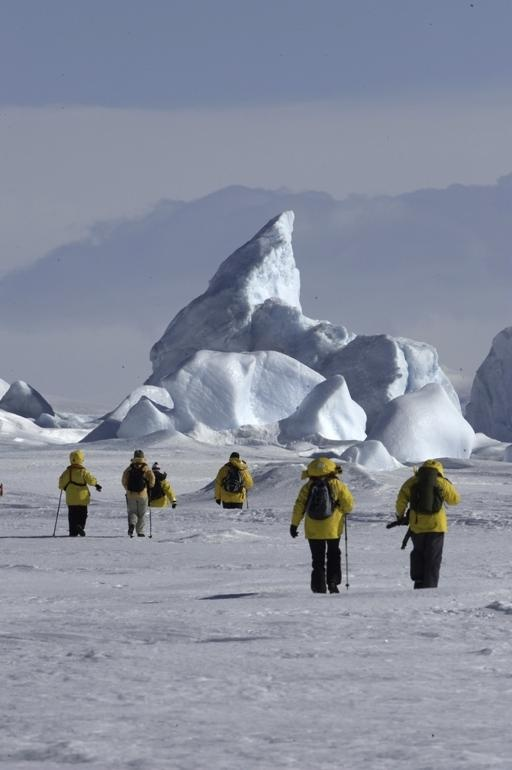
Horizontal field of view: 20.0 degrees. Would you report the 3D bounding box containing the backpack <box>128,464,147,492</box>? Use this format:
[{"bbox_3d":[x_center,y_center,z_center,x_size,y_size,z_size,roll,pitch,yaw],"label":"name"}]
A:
[{"bbox_3d":[-1.142,0.910,14.069,0.245,0.333,0.180,3,-14,-7],"label":"backpack"}]

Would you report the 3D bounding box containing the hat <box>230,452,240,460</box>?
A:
[{"bbox_3d":[-0.234,0.822,16.670,0.109,0.099,0.098,1,1,28],"label":"hat"}]

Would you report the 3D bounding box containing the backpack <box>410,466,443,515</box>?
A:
[{"bbox_3d":[1.068,0.674,9.074,0.291,0.369,0.200,0,-19,6],"label":"backpack"}]

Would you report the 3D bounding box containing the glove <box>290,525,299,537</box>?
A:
[{"bbox_3d":[0.238,0.940,9.233,0.026,0.094,0.074,4,-10,32],"label":"glove"}]
